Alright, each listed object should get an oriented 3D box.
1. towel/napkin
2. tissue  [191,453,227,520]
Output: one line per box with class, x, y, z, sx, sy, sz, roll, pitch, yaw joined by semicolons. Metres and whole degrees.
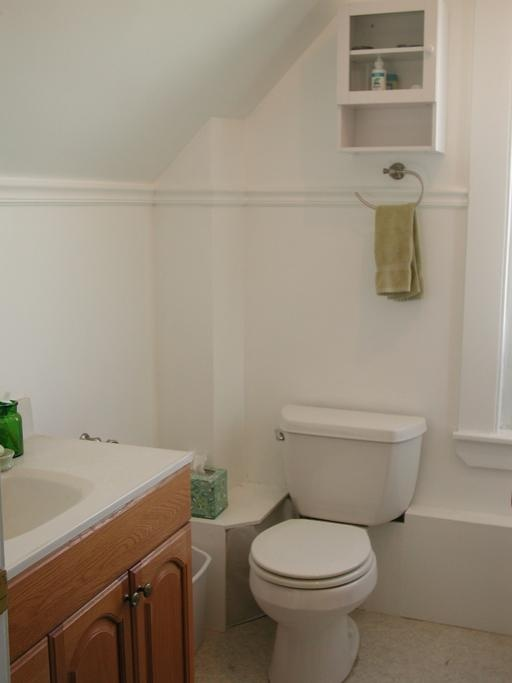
towel/napkin;0.426;-0.279;1.678;0.121;0.278;0.058;1;4;32
tissue ;-0.159;0.469;1.827;0.168;0.150;0.186;2;6;18
